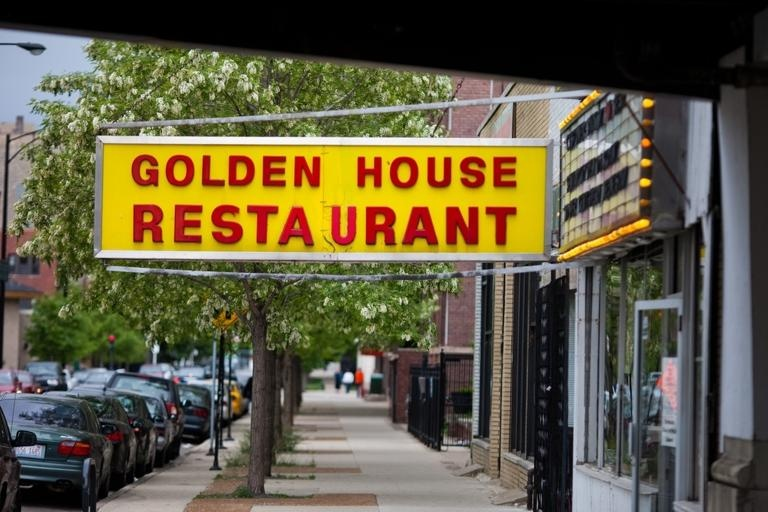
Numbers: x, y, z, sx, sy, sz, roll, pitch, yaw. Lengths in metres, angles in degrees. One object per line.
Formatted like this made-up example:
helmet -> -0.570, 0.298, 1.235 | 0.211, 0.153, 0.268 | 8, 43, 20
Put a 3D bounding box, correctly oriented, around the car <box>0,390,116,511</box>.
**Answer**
car -> -5.240, 2.995, 18.862 | 1.131, 0.978, 2.763 | 2, -1, -5
